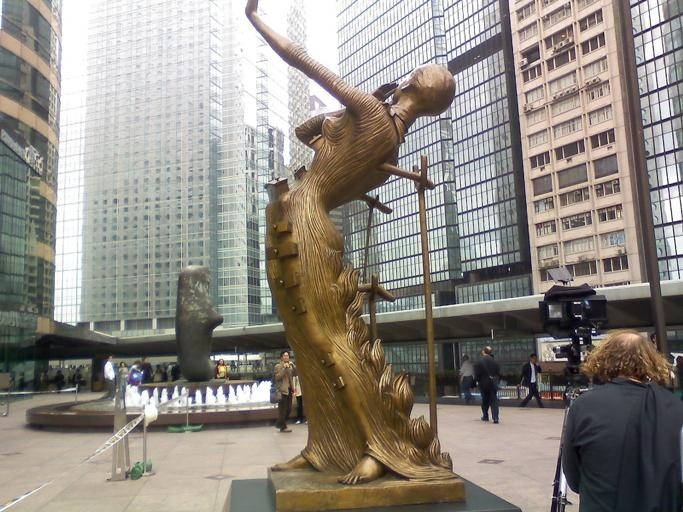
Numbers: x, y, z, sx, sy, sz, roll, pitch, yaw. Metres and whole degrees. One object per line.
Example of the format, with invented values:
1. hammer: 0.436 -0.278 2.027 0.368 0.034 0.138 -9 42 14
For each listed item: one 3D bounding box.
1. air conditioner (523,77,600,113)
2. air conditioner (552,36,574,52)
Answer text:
1. air conditioner: 19.649 -14.499 54.140 1.035 1.398 5.675 0 -4 -15
2. air conditioner: 19.428 -18.511 54.541 0.362 0.896 1.362 13 -34 -29
